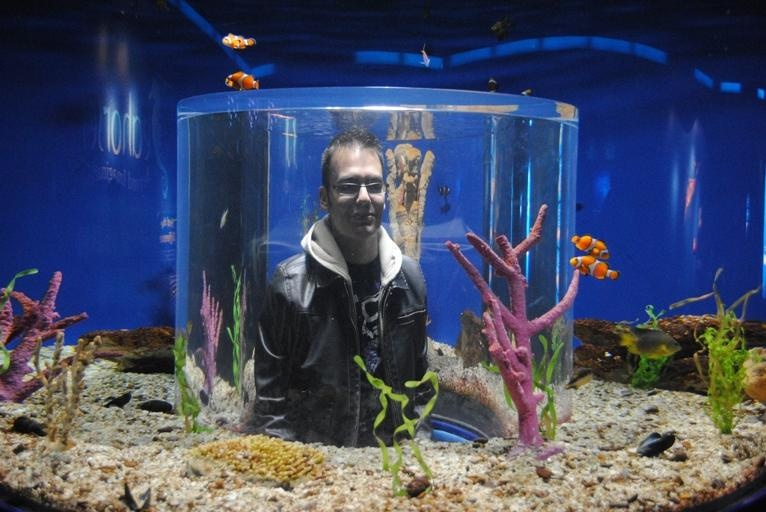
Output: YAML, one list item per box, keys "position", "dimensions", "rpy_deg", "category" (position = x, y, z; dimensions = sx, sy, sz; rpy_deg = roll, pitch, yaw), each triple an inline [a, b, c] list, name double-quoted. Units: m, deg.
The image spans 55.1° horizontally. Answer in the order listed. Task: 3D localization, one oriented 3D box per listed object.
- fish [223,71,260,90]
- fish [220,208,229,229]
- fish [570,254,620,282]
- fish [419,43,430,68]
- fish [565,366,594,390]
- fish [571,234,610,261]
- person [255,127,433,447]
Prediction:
- position: [-0.985, -1.224, 5.161]
  dimensions: [0.186, 0.161, 0.381]
  rpy_deg: [0, 3, -26]
  category: "fish"
- position: [-0.980, -0.230, 4.515]
  dimensions: [0.070, 0.116, 0.012]
  rpy_deg: [4, 4, 33]
  category: "fish"
- position: [1.414, 0.064, 4.883]
  dimensions: [0.332, 0.168, 0.087]
  rpy_deg: [18, 1, -1]
  category: "fish"
- position: [0.335, -1.580, 5.813]
  dimensions: [0.062, 0.059, 0.141]
  rpy_deg: [-8, -35, 1]
  category: "fish"
- position: [1.340, 0.818, 4.954]
  dimensions: [0.104, 0.122, 0.325]
  rpy_deg: [-6, 15, 31]
  category: "fish"
- position: [1.375, -0.061, 4.865]
  dimensions: [0.112, 0.124, 0.314]
  rpy_deg: [-6, -25, 38]
  category: "fish"
- position: [-0.258, 0.191, 4.466]
  dimensions: [1.083, 1.897, 0.261]
  rpy_deg: [1, 3, -11]
  category: "person"
